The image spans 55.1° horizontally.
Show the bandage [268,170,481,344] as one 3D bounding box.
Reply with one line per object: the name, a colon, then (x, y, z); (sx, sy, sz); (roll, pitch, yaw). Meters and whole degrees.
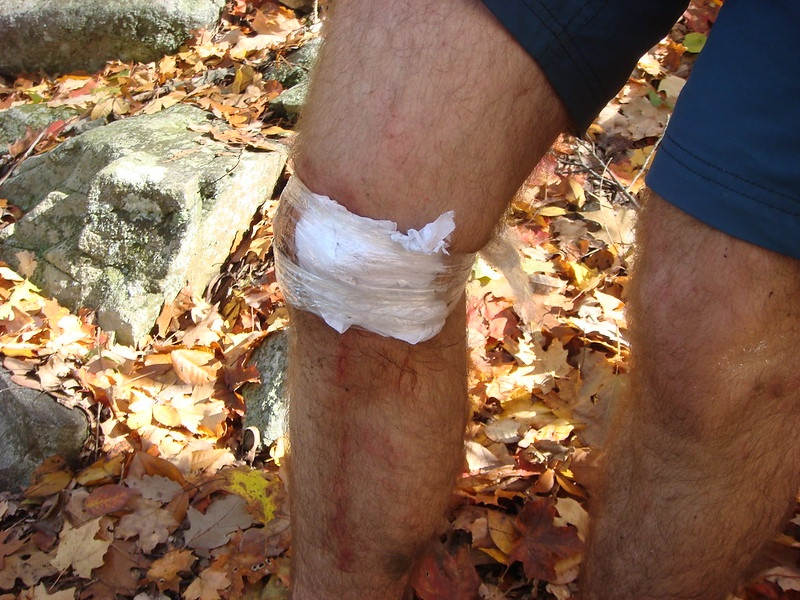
bandage: (-0.100, -0.062, 2.284); (0.386, 0.377, 0.489); (3, 1, -21)
